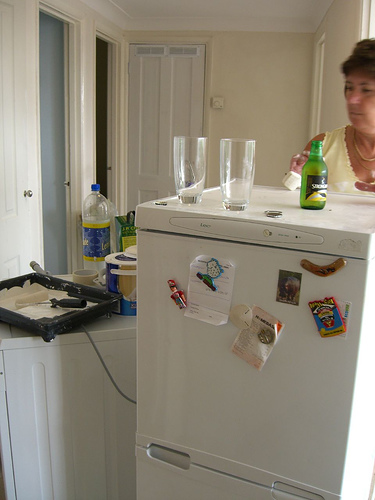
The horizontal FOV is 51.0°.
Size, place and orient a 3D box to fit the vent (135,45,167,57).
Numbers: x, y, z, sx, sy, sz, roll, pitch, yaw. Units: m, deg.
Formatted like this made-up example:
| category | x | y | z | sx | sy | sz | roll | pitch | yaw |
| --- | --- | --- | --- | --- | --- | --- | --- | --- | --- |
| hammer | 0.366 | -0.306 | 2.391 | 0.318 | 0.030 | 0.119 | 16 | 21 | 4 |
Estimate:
| category | x | y | z | sx | sy | sz | roll | pitch | yaw |
| --- | --- | --- | --- | --- | --- | --- | --- | --- | --- |
| vent | -0.362 | -1.997 | 3.986 | 0.237 | 0.134 | 0.056 | 1 | 3 | 2 |

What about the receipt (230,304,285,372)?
| category | x | y | z | sx | sy | sz | roll | pitch | yaw |
| --- | --- | --- | --- | --- | --- | --- | --- | --- | --- |
| receipt | 0.131 | 0.156 | 0.714 | 0.085 | 0.118 | 0.013 | 34 | 27 | 19 |

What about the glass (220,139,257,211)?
| category | x | y | z | sx | sy | sz | roll | pitch | yaw |
| --- | --- | --- | --- | --- | --- | --- | --- | --- | --- |
| glass | 0.099 | -0.137 | 0.783 | 0.072 | 0.126 | 0.076 | 2 | -1 | 7 |

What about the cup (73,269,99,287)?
| category | x | y | z | sx | sy | sz | roll | pitch | yaw |
| --- | --- | --- | --- | --- | --- | --- | --- | --- | --- |
| cup | -0.359 | 0.088 | 1.448 | 0.069 | 0.042 | 0.071 | 5 | 17 | -1 |

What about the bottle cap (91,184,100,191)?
| category | x | y | z | sx | sy | sz | roll | pitch | yaw |
| --- | --- | --- | --- | --- | --- | --- | --- | --- | --- |
| bottle cap | -0.404 | -0.274 | 1.734 | 0.044 | 0.032 | 0.044 | -2 | 5 | -24 |
